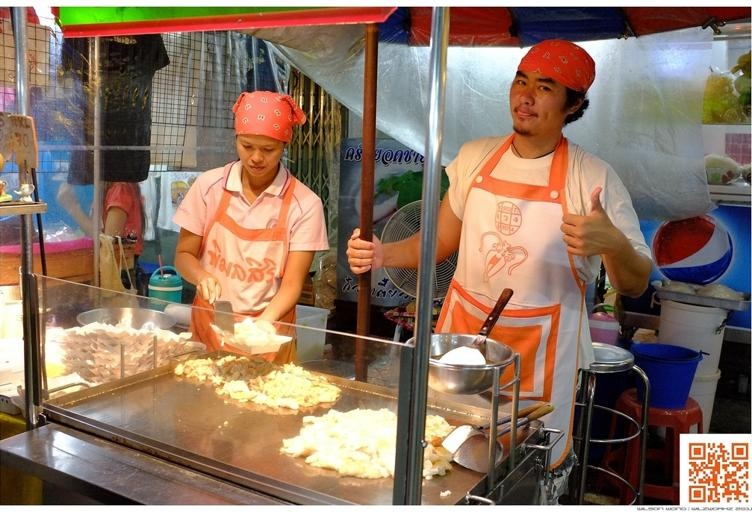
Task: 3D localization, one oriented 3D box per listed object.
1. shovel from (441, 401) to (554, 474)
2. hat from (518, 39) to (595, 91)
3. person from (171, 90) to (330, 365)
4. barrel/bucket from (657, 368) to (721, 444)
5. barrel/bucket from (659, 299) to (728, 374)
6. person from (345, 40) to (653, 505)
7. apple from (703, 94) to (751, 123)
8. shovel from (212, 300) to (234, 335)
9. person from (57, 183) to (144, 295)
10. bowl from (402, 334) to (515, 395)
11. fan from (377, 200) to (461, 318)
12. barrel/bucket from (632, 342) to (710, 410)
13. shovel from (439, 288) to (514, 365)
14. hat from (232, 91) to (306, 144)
[{"bbox_3d":[0.400,0.588,1.853,0.159,0.139,0.403,8,8,43],"label":"shovel"},{"bbox_3d":[0.783,-0.851,2.463,0.365,0.217,0.366,5,26,1],"label":"hat"},{"bbox_3d":[-0.639,-0.247,2.676,0.763,1.107,0.472,5,6,19],"label":"person"},{"bbox_3d":[2.358,1.053,4.059,0.486,0.501,0.475,-2,8,0],"label":"barrel/bucket"},{"bbox_3d":[2.268,0.574,4.153,0.544,0.522,0.494,5,3,-33],"label":"barrel/bucket"},{"bbox_3d":[0.604,0.192,2.646,1.205,2.222,0.818,8,24,27],"label":"person"},{"bbox_3d":[2.801,-1.176,4.440,0.332,0.200,0.118,4,6,17],"label":"apple"},{"bbox_3d":[-0.551,0.223,2.074,0.103,0.139,0.034,-2,-3,0],"label":"shovel"},{"bbox_3d":[-2.146,-0.172,4.486,0.263,0.873,0.693,6,7,26],"label":"person"},{"bbox_3d":[0.286,0.353,1.761,0.275,0.103,0.267,1,11,0],"label":"bowl"},{"bbox_3d":[0.208,0.041,4.279,0.820,0.840,0.207,-3,13,29],"label":"fan"},{"bbox_3d":[1.876,0.745,3.643,0.441,0.350,0.431,0,-4,0],"label":"barrel/bucket"},{"bbox_3d":[0.383,0.241,1.917,0.134,0.034,0.386,13,53,37],"label":"shovel"},{"bbox_3d":[-0.512,-0.693,2.769,0.379,0.242,0.387,2,8,-25],"label":"hat"}]
